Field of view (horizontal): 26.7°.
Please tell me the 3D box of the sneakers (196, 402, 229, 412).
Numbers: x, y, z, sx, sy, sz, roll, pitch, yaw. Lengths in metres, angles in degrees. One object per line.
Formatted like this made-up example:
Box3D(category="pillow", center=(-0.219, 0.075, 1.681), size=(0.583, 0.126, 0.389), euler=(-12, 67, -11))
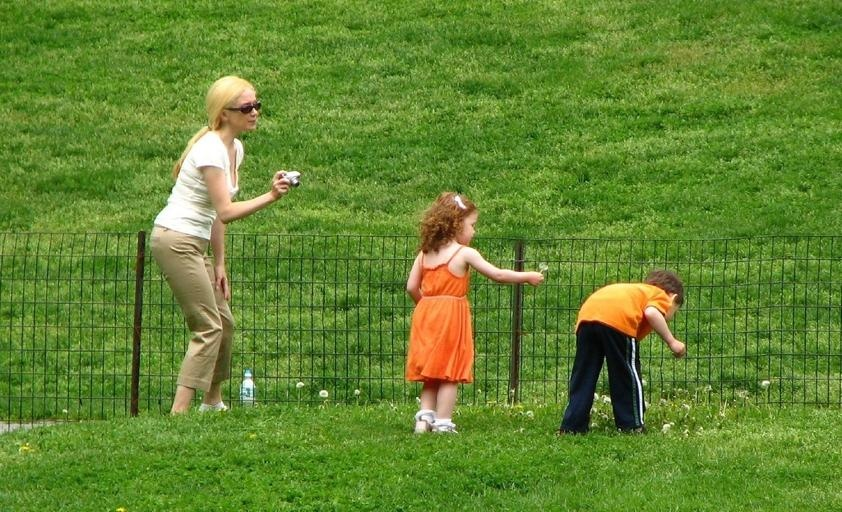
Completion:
Box3D(category="sneakers", center=(-4.033, 2.954, 34.207), size=(0.570, 0.241, 0.210), euler=(0, -4, -5))
